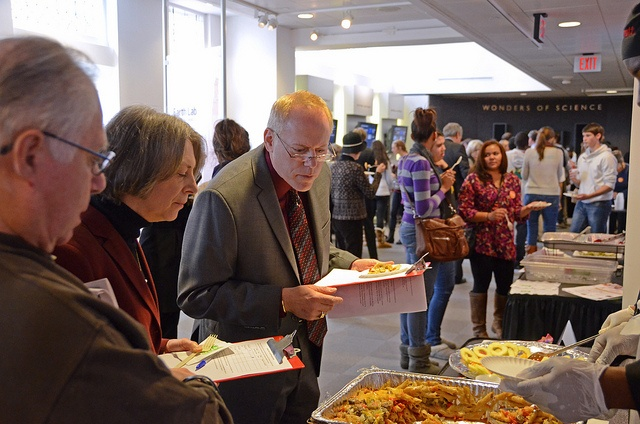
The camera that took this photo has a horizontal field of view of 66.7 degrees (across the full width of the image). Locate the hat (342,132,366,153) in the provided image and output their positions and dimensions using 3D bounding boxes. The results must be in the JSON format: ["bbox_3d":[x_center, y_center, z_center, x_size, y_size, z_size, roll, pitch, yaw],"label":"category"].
[{"bbox_3d":[0.406,-0.853,5.991,0.236,0.273,0.273,1,6,2],"label":"hat"}]

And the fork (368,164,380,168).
[{"bbox_3d":[0.937,-0.798,8.387,0.183,0.050,0.061,2,-6,-10],"label":"fork"}]

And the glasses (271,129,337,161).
[{"bbox_3d":[-0.023,-0.284,2.149,0.179,0.115,0.341,5,7,35],"label":"glasses"}]

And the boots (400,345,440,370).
[{"bbox_3d":[0.852,1.179,3.886,0.328,0.232,0.120,9,-5,-23],"label":"boots"}]

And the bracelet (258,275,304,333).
[{"bbox_3d":[-0.158,0.376,2.001,0.176,0.179,0.242,1,-16,-6],"label":"bracelet"}]

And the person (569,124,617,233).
[{"bbox_3d":[3.942,-0.472,6.984,0.477,1.568,0.780,2,7,14],"label":"person"}]

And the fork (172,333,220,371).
[{"bbox_3d":[-0.406,0.464,1.668,0.031,0.027,0.233,-8,24,39],"label":"fork"}]

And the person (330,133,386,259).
[{"bbox_3d":[0.406,-0.215,6.039,0.529,1.553,0.405,1,6,5],"label":"person"}]

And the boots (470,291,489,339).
[{"bbox_3d":[1.427,0.928,4.372,0.152,0.427,0.214,2,7,17],"label":"boots"}]

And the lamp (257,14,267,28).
[{"bbox_3d":[-0.837,-2.814,7.264,0.157,0.198,0.195,0,40,-4],"label":"lamp"}]

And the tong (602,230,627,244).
[{"bbox_3d":[2.728,0.227,4.506,0.469,0.169,0.097,-5,3,-45],"label":"tong"}]

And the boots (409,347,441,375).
[{"bbox_3d":[0.855,1.177,3.865,0.293,0.274,0.143,0,2,4],"label":"boots"}]

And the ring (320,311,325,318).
[{"bbox_3d":[0.014,0.429,2.030,0.008,0.034,0.033,6,-8,-25],"label":"ring"}]

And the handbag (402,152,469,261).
[{"bbox_3d":[0.915,-0.021,3.856,0.383,0.817,0.313,-7,-7,-11],"label":"handbag"}]
